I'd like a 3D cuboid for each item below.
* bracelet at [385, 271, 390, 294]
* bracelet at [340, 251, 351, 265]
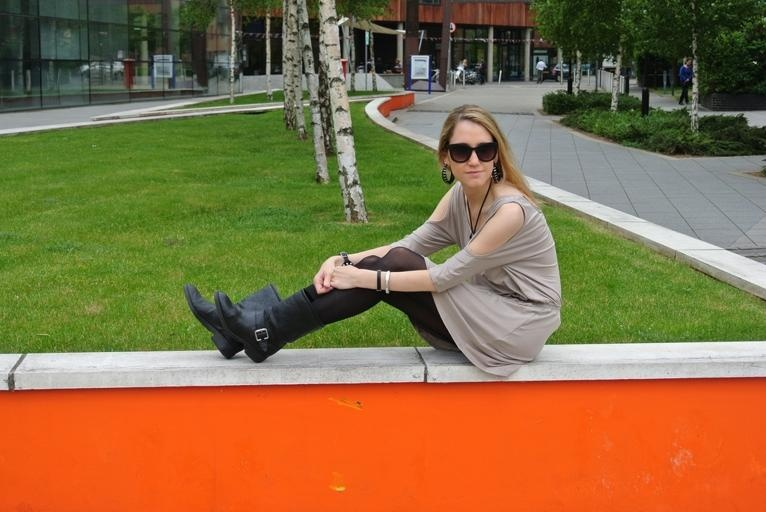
[{"bbox_3d":[0.030,0.160,3.738,0.031,0.132,0.051,0,9,0],"label":"bracelet"},{"bbox_3d":[-0.242,0.025,4.146,0.062,0.089,0.080,-19,-14,-13],"label":"bracelet"}]
